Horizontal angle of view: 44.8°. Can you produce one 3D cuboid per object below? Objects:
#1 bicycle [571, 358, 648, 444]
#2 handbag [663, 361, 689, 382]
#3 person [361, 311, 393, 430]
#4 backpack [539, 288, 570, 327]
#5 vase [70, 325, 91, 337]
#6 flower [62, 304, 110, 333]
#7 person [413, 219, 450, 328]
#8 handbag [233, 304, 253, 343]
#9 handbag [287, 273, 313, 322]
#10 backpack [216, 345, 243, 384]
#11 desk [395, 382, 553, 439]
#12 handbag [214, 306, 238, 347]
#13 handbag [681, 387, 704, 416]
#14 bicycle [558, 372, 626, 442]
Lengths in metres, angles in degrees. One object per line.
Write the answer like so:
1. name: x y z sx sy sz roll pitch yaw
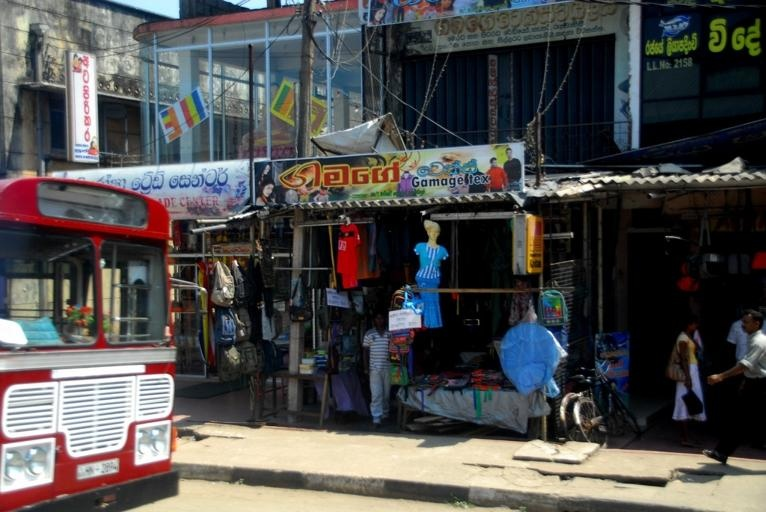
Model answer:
1. bicycle: 4.073 2.778 17.354 0.982 1.331 2.100 -30 -16 37
2. handbag: 5.403 2.112 16.988 0.264 0.513 0.504 2 -5 -33
3. person: -0.059 2.241 18.214 0.639 1.826 0.435 -2 1 19
4. backpack: 3.125 0.901 17.100 0.518 0.732 0.393 -3 20 10
5. vase: -4.407 1.102 13.628 0.169 0.130 0.176 4 0 0
6. flower: -4.412 0.917 13.695 0.481 0.361 0.418 17 -27 -27
7. person: 0.940 0.328 17.686 0.609 1.661 0.464 -2 1 2
8. handbag: -2.904 1.381 18.711 0.353 0.687 0.694 -10 -8 24
9. handbag: -1.597 0.833 19.059 0.586 1.052 0.563 1 7 8
10. backpack: -2.976 2.097 18.247 0.448 0.643 0.234 -3 1 -11
11. desk: 1.781 2.870 17.417 2.802 0.687 0.309 -3 1 24
12. handbag: -3.056 1.385 18.293 0.465 0.908 0.613 -8 -12 22
13. handbag: 5.596 2.657 16.807 0.318 0.463 0.116 -41 -18 18
14. bicycle: 3.807 2.784 17.098 0.620 0.935 1.524 -2 1 36
